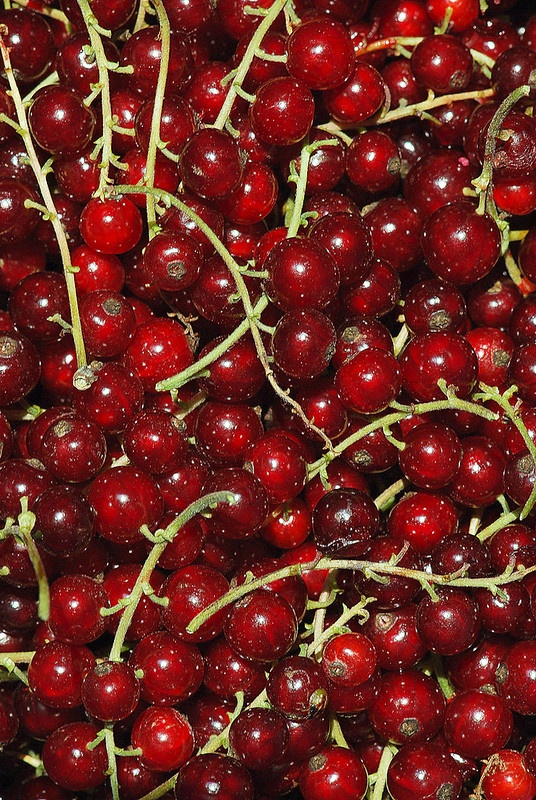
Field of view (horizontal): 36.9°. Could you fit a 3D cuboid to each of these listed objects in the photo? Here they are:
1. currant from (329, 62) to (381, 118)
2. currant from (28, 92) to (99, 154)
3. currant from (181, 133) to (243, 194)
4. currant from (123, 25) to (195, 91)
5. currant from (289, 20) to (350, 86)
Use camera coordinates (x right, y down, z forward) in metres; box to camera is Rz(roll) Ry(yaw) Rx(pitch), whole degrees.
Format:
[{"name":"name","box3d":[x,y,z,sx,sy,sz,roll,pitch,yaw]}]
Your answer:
[{"name":"currant","box3d":[0.090,-0.327,0.843,0.046,0.052,0.042,-1,50,-29]},{"name":"currant","box3d":[-0.208,-0.275,0.817,0.062,0.062,0.071,-14,13,-30]},{"name":"currant","box3d":[-0.052,-0.222,0.753,0.059,0.064,0.058,9,15,22]},{"name":"currant","box3d":[-0.115,-0.354,0.842,0.073,0.060,0.056,-14,52,-7]},{"name":"currant","box3d":[0.054,-0.357,0.819,0.071,0.075,0.066,2,21,10]}]
